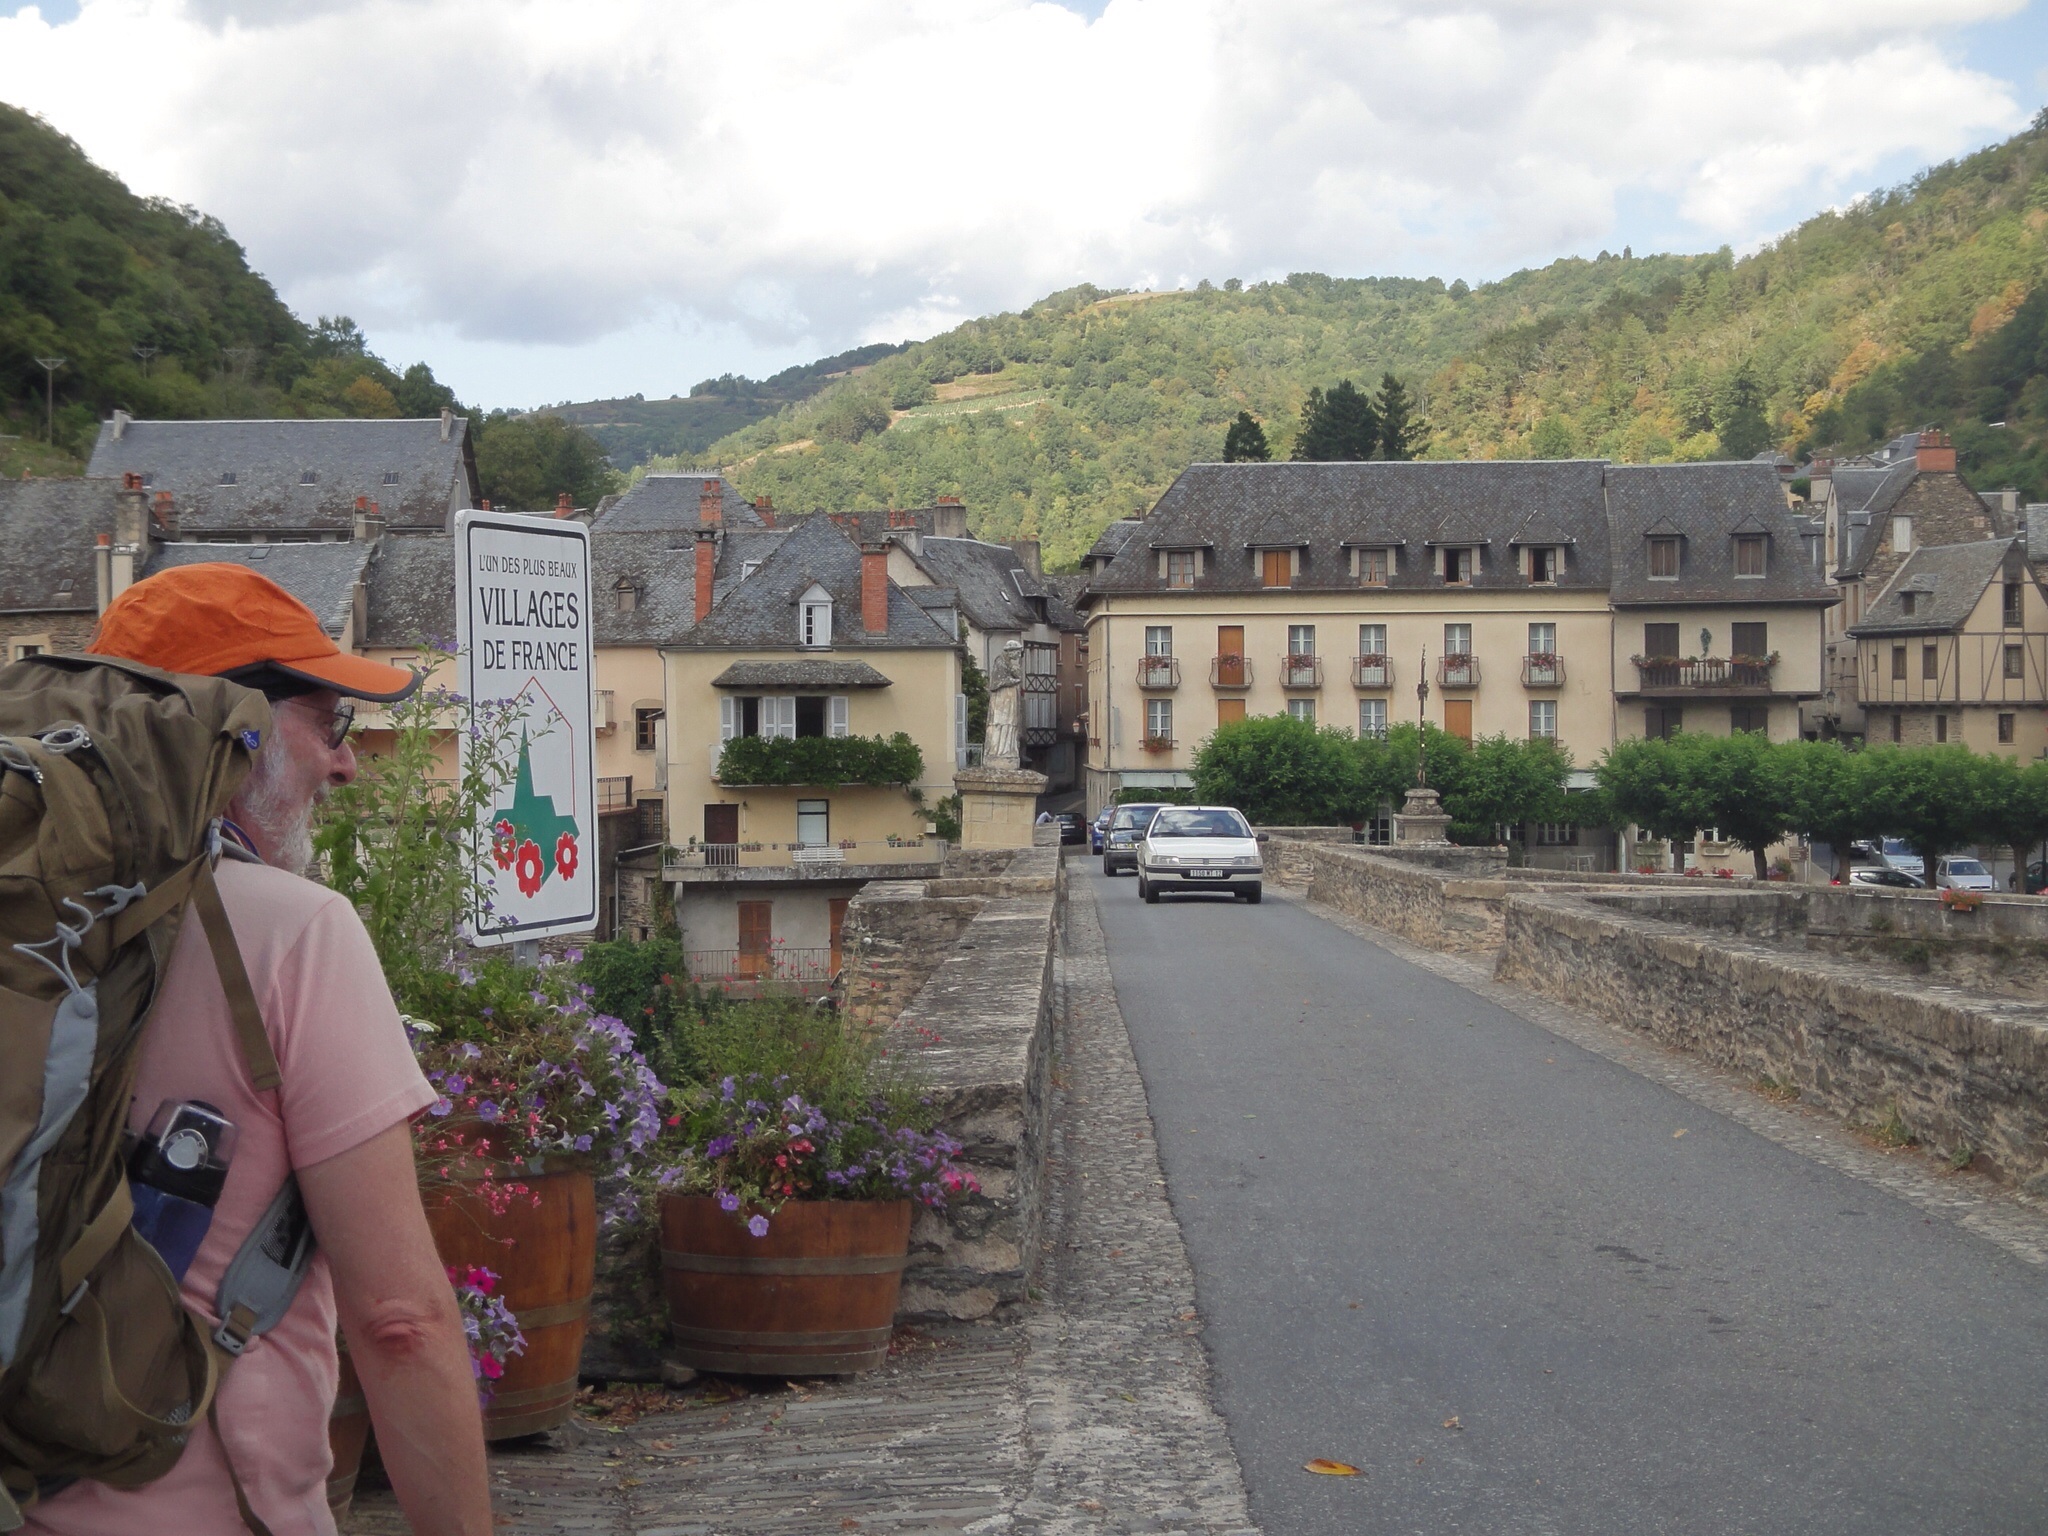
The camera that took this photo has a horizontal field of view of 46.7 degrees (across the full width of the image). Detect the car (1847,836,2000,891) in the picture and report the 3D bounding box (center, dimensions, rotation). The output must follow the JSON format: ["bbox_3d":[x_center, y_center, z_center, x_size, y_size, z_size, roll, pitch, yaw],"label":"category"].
[{"bbox_3d":[23.357,2.473,61.875,1.910,1.084,1.135,-7,-3,40],"label":"car"}]

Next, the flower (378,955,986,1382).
[{"bbox_3d":[-1.082,1.105,7.387,1.323,1.051,1.497,-1,-8,8],"label":"flower"}]

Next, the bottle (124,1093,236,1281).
[{"bbox_3d":[-1.464,0.719,4.111,0.150,0.310,0.077,8,-3,-11],"label":"bottle"}]

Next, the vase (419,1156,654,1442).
[{"bbox_3d":[-1.406,1.528,6.969,0.629,0.958,0.712,0,0,-5],"label":"vase"}]
